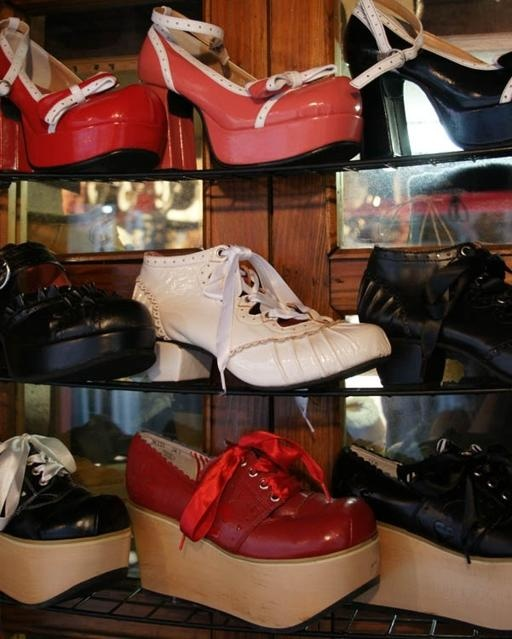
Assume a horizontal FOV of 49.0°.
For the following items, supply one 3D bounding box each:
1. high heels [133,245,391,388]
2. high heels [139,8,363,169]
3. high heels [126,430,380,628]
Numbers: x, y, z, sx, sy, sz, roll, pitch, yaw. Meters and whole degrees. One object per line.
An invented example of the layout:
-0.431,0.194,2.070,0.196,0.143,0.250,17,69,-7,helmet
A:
0.000,-0.035,0.738,0.330,0.123,0.170,10,15,33,high heels
-0.002,-0.314,0.817,0.362,0.229,0.185,4,16,18,high heels
-0.016,0.264,0.774,0.384,0.208,0.189,-3,-2,30,high heels
